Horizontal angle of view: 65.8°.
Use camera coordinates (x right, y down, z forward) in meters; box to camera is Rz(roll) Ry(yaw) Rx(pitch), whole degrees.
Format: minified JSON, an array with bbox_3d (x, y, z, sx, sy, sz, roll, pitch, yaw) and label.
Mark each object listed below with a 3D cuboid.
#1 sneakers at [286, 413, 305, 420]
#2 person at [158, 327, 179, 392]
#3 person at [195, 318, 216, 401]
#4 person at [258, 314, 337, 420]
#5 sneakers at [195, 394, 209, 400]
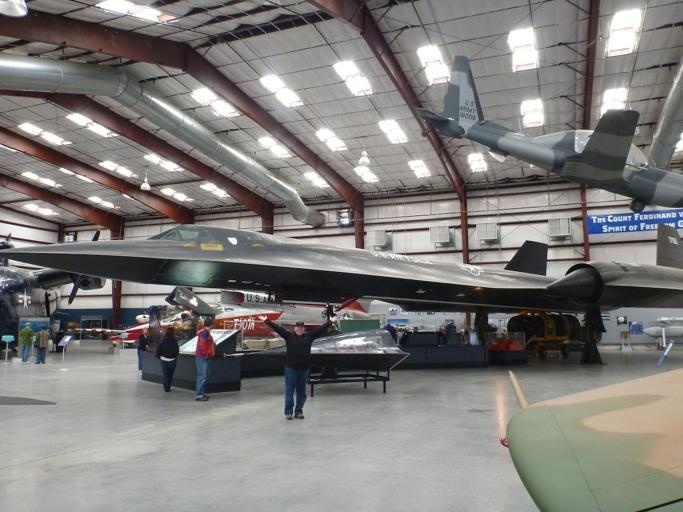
[{"bbox_3d":[-0.752,2.528,8.301,0.106,0.102,0.289,5,-19,-18],"label":"sneakers"},{"bbox_3d":[-3.623,2.128,10.937,0.412,1.320,0.827,1,-4,-17],"label":"person"},{"bbox_3d":[-2.648,1.975,10.117,0.366,1.449,0.701,1,-4,-13],"label":"person"},{"bbox_3d":[-0.745,1.840,8.835,1.045,1.505,1.149,0,-4,-3],"label":"person"},{"bbox_3d":[-2.627,2.636,9.867,0.245,0.091,0.223,2,-4,-23],"label":"sneakers"}]
